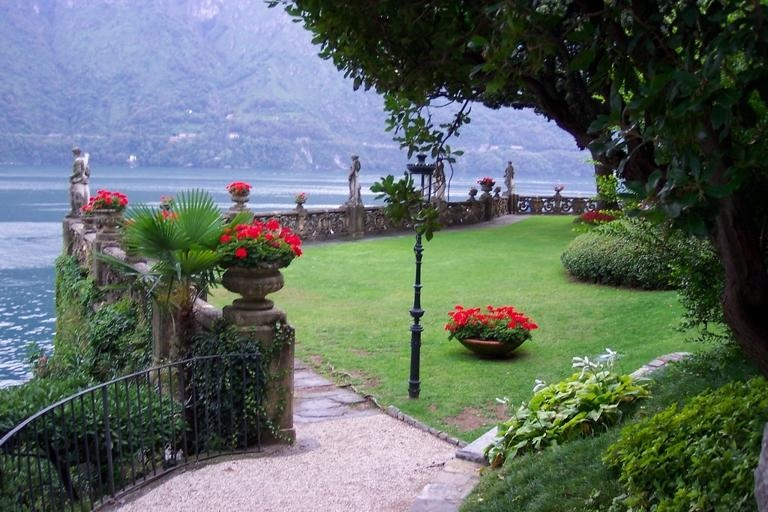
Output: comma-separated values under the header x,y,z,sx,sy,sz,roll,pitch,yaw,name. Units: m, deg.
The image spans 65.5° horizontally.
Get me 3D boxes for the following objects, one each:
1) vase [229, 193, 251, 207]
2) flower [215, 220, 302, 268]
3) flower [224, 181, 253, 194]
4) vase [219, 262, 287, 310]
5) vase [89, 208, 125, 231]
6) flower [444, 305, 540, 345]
x,y,z,sx,sy,sz,roll,pitch,yaw,name
-4.877,-1.857,20.036,0.798,0.610,0.823,-1,4,-9,vase
-1.582,-0.183,7.381,0.719,0.475,0.722,-1,4,-38,flower
-4.763,-2.215,19.606,0.633,0.396,0.501,-2,2,7,flower
-1.599,0.371,7.492,0.596,0.456,0.591,1,0,-3,vase
-6.051,-0.809,13.113,0.750,0.547,0.778,1,-2,0,vase
1.789,1.155,9.816,0.929,0.478,0.952,-1,-1,37,flower
